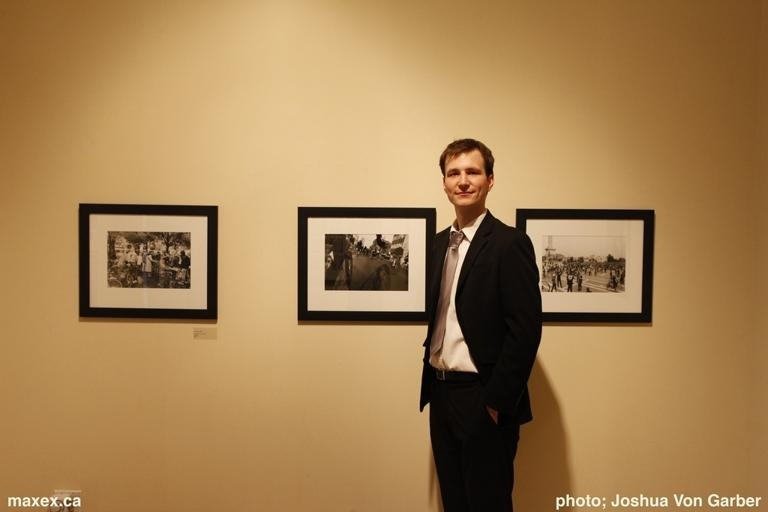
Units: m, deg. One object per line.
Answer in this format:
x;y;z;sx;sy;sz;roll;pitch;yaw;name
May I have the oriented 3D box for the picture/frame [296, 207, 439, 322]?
-0.085;0.035;4.395;0.695;0.647;0.037;1;-2;-3;picture/frame
